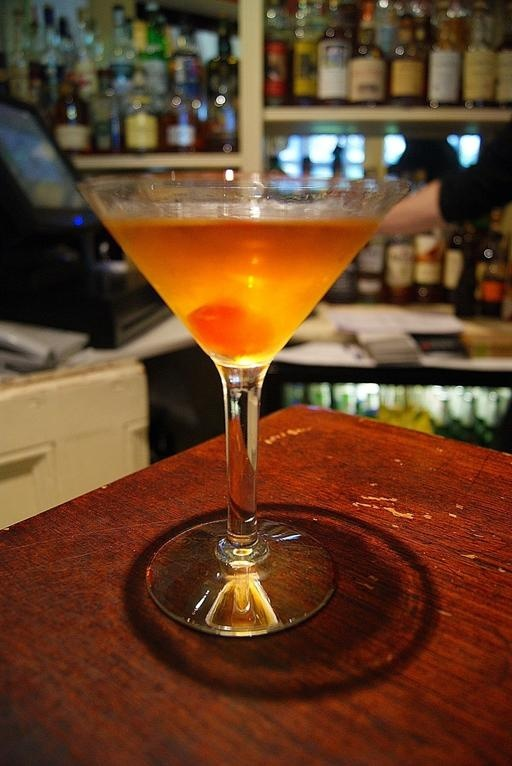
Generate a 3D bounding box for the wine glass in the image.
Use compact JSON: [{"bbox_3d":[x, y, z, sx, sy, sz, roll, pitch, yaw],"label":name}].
[{"bbox_3d":[-0.002,-0.015,0.528,0.266,0.295,0.259,10,14,40],"label":"wine glass"}]
